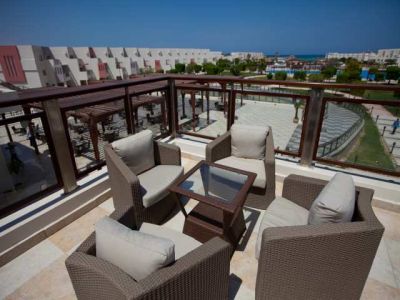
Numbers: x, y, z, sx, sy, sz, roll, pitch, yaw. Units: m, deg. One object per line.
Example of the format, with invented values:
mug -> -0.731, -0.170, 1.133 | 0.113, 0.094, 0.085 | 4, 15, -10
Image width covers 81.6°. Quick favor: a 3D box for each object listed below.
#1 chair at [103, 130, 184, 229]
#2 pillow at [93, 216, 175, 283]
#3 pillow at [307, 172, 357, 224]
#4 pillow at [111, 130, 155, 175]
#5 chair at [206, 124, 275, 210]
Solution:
chair -> -0.844, 0.375, 3.395 | 1.037, 1.105, 1.026 | 19, 32, 17
pillow -> -0.528, 0.782, 1.802 | 0.431, 0.242, 0.160 | 12, 33, 18
pillow -> 1.218, 0.459, 2.165 | 0.180, 0.236, 0.477 | 21, 36, 30
pillow -> -0.927, 0.057, 3.279 | 0.301, 0.515, 0.584 | 20, 38, 38
chair -> 0.711, 0.273, 3.601 | 1.022, 0.923, 1.040 | 20, 31, 34
